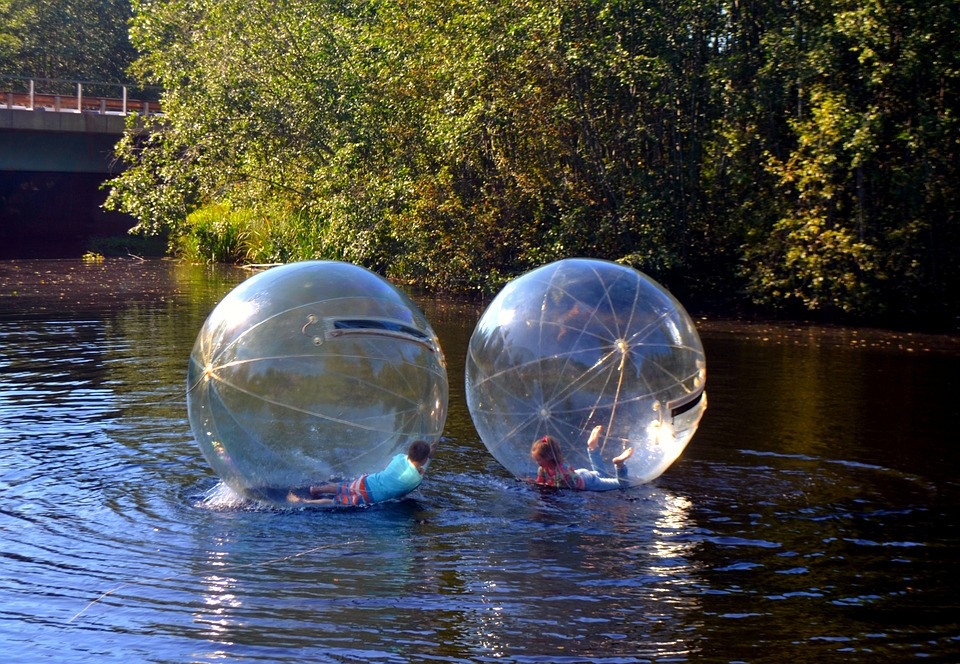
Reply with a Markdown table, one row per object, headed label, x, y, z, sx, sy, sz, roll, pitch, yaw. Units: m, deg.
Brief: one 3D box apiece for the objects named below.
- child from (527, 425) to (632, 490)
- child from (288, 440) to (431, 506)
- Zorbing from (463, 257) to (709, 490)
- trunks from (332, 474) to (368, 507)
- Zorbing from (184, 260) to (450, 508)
| label | x | y | z | sx | sy | sz | roll | pitch | yaw |
| --- | --- | --- | --- | --- | --- | --- | --- | --- | --- |
| child | 1.019 | 1.377 | 13.189 | 1.230 | 0.669 | 0.572 | 4 | -2 | -33 |
| child | -1.182 | 1.472 | 12.599 | 1.486 | 0.611 | 0.467 | -3 | 1 | -13 |
| Zorbing | 1.199 | 0.499 | 13.949 | 2.804 | 2.806 | 2.774 | 0 | 5 | 9 |
| trunks | -1.296 | 1.582 | 12.455 | 0.353 | 0.275 | 0.227 | -1 | 7 | 1 |
| Zorbing | -1.757 | 0.656 | 13.514 | 2.874 | 2.941 | 2.941 | 0 | 0 | 6 |
